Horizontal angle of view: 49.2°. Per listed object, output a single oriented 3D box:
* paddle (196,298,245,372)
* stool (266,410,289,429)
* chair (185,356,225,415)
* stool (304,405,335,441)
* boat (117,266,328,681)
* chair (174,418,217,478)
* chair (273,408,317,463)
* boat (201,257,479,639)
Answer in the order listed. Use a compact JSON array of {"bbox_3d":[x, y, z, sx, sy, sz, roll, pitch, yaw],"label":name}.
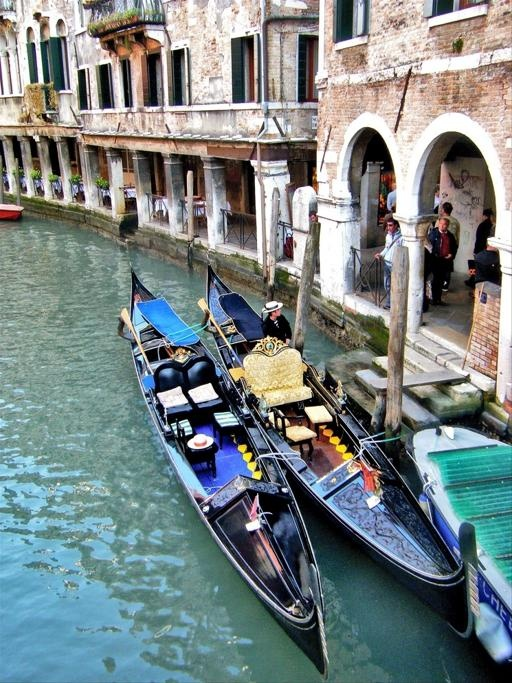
[{"bbox_3d":[-0.597,-0.136,9.499,0.218,0.481,1.990,18,32,-43],"label":"paddle"},{"bbox_3d":[0.251,0.966,6.895,0.117,0.164,0.127,-32,52,-22],"label":"stool"},{"bbox_3d":[-0.766,0.668,7.656,0.466,0.819,0.678,-9,19,-24],"label":"chair"},{"bbox_3d":[0.798,0.960,6.880,0.287,0.344,0.503,-15,32,-11],"label":"stool"},{"bbox_3d":[-1.003,0.924,7.120,1.184,1.749,7.246,-20,35,-6],"label":"boat"},{"bbox_3d":[-0.722,1.250,6.512,0.203,0.365,0.578,-14,28,-13],"label":"chair"},{"bbox_3d":[0.458,1.115,6.571,0.283,0.483,0.306,-21,29,-9],"label":"chair"},{"bbox_3d":[0.925,0.665,6.719,1.009,1.639,6.080,-24,36,-5],"label":"boat"}]
